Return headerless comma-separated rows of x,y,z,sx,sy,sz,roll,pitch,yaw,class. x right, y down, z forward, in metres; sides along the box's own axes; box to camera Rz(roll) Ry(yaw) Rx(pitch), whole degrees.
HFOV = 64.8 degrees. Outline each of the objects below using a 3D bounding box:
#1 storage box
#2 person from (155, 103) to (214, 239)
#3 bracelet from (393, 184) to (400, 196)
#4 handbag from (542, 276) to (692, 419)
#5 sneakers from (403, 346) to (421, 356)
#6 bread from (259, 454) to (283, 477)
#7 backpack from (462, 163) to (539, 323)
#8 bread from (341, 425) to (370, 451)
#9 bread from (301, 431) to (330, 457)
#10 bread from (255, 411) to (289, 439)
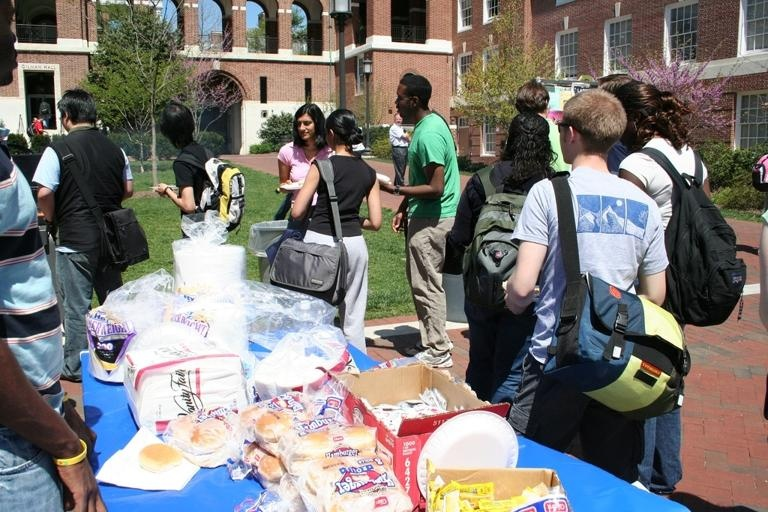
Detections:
0.109,0.655,2.636,0.493,0.385,0.602,-3,25,-25,storage box
-1.847,-0.817,5.622,0.512,1.188,1.113,-7,16,-23,person
0.119,-0.576,5.316,0.049,0.077,0.076,4,4,8,bracelet
1.094,0.457,2.956,0.532,0.487,0.306,30,-25,-21,handbag
0.269,0.932,5.878,0.144,0.087,0.213,-1,0,7,sneakers
-0.475,0.879,2.546,0.095,0.070,0.032,44,6,17,bread
0.595,-0.084,3.956,0.436,0.750,0.782,6,41,5,backpack
-0.101,0.747,2.468,0.130,0.052,0.114,-2,15,-7,bread
-0.275,0.762,2.442,0.119,0.041,0.108,-3,15,-9,bread
-0.481,0.729,2.606,0.093,0.024,0.099,-3,32,-12,bread
